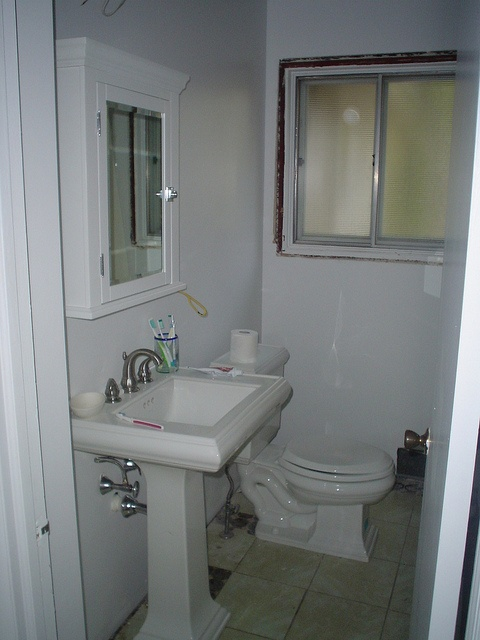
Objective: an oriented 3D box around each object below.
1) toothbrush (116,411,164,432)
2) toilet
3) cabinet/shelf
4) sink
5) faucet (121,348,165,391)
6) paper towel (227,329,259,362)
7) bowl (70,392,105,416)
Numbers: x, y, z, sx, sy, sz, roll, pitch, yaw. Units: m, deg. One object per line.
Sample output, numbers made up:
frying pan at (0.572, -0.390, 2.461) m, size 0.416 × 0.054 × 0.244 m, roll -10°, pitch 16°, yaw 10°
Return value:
toothbrush at (-0.294, 0.294, 1.453) m, size 0.145 × 0.025 × 0.012 m, roll 19°, pitch -2°, yaw 25°
toilet at (0.320, 0.577, 2.295) m, size 0.742 × 0.933 × 0.436 m, roll 4°, pitch 19°, yaw 24°
cabinet/shelf at (-0.343, -0.390, 1.496) m, size 0.142 × 0.672 × 0.472 m, roll 9°, pitch 16°, yaw 25°
sink at (-0.160, 0.303, 1.634) m, size 0.453 × 0.149 × 0.679 m, roll 4°, pitch 9°, yaw 23°
faucet at (-0.314, 0.160, 1.676) m, size 0.126 × 0.165 × 0.137 m, roll 12°, pitch 17°, yaw 19°
paper towel at (0.018, 0.116, 2.278) m, size 0.116 × 0.155 × 0.130 m, roll 4°, pitch 13°, yaw 4°
bowl at (-0.445, 0.250, 1.474) m, size 0.092 × 0.055 × 0.109 m, roll -2°, pitch 8°, yaw -17°
